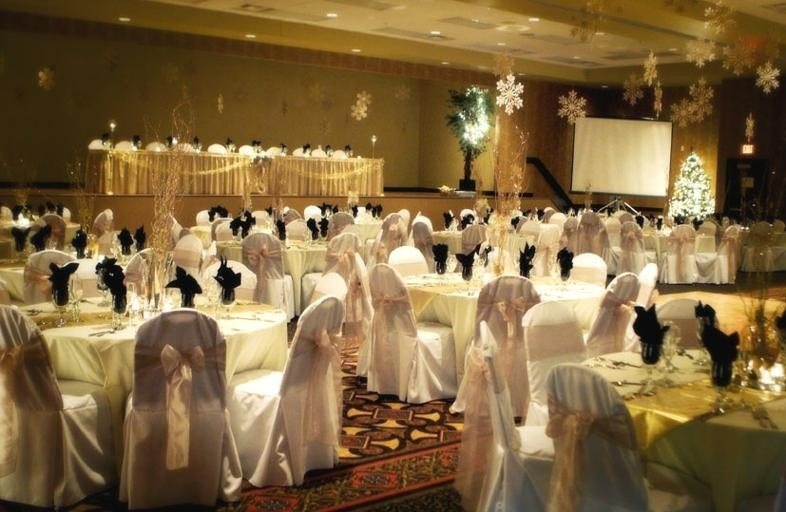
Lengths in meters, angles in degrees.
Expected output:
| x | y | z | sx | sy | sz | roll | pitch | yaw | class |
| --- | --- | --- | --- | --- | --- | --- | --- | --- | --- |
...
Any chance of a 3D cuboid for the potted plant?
| x | y | z | sx | sy | sz | roll | pitch | yaw | class |
| --- | --- | --- | --- | --- | --- | --- | --- | --- | --- |
| 2.234 | -3.283 | 16.698 | 1.185 | 2.910 | 1.084 | -9 | 16 | -41 | potted plant |
